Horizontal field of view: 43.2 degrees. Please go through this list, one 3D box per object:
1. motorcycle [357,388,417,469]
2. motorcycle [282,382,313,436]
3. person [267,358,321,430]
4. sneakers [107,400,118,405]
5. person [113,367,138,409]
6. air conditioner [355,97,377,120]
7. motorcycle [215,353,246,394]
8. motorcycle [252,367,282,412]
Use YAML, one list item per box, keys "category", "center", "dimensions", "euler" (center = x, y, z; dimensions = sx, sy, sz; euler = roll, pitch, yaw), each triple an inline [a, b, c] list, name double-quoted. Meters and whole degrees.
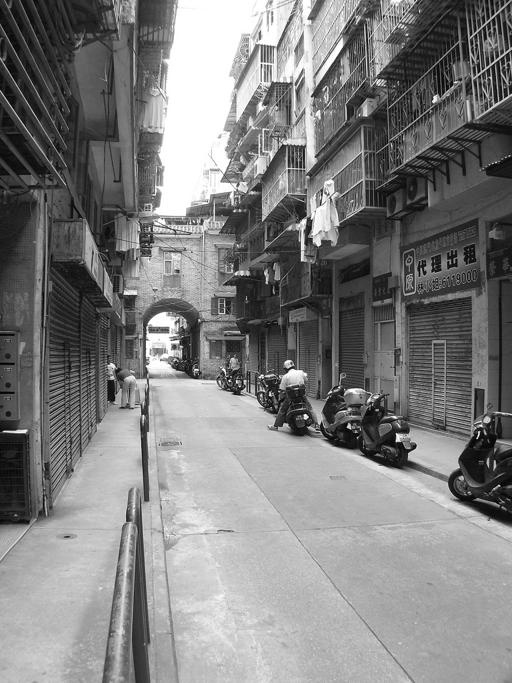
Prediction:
- category: "motorcycle"
  center: [1.936, 1.388, 9.758]
  dimensions: [0.408, 1.151, 1.531]
  euler: [4, -1, -6]
- category: "motorcycle"
  center: [0.867, 1.409, 13.160]
  dimensions: [0.568, 0.982, 0.674]
  euler: [-1, -4, 9]
- category: "person"
  center: [0.766, 1.089, 13.723]
  dimensions: [0.654, 1.282, 1.540]
  euler: [0, -4, -1]
- category: "sneakers"
  center: [-4.461, 1.864, 19.936]
  dimensions: [0.242, 0.162, 0.099]
  euler: [-7, -1, 17]
- category: "person"
  center: [-4.001, 1.443, 19.528]
  dimensions: [0.485, 1.826, 0.942]
  euler: [6, -15, -39]
- category: "air conditioner"
  center: [2.548, -5.294, 14.795]
  dimensions: [0.266, 0.509, 0.630]
  euler: [1, -8, -9]
- category: "motorcycle"
  center: [-0.983, 1.467, 26.727]
  dimensions: [0.670, 1.472, 1.888]
  euler: [6, 6, -8]
- category: "motorcycle"
  center: [0.362, 1.475, 18.621]
  dimensions: [0.443, 0.943, 1.192]
  euler: [4, 9, -6]
